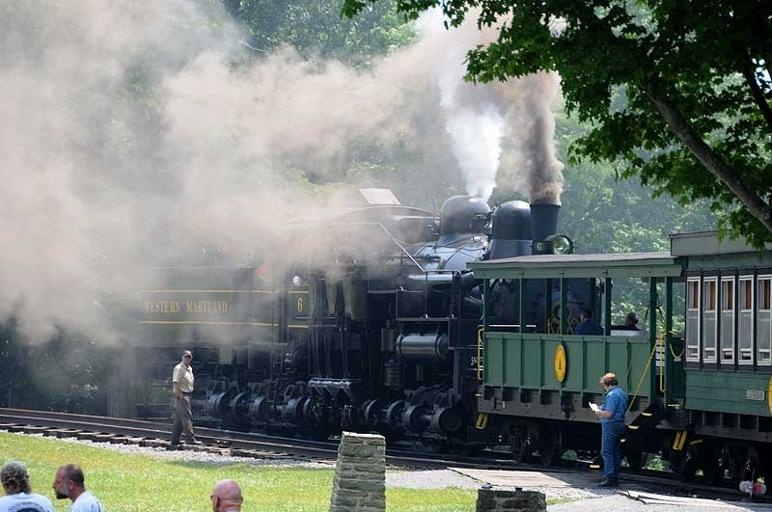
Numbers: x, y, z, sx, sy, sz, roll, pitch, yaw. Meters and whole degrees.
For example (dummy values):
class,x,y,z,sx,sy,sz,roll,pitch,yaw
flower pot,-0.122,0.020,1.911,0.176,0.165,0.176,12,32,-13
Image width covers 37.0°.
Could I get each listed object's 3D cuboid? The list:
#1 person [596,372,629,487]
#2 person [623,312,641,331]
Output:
class,x,y,z,sx,sy,sz,roll,pitch,yaw
person,4.396,3.402,22.611,0.523,2.204,0.754,2,-9,11
person,5.763,1.547,27.162,0.319,0.505,1.182,1,-10,11
